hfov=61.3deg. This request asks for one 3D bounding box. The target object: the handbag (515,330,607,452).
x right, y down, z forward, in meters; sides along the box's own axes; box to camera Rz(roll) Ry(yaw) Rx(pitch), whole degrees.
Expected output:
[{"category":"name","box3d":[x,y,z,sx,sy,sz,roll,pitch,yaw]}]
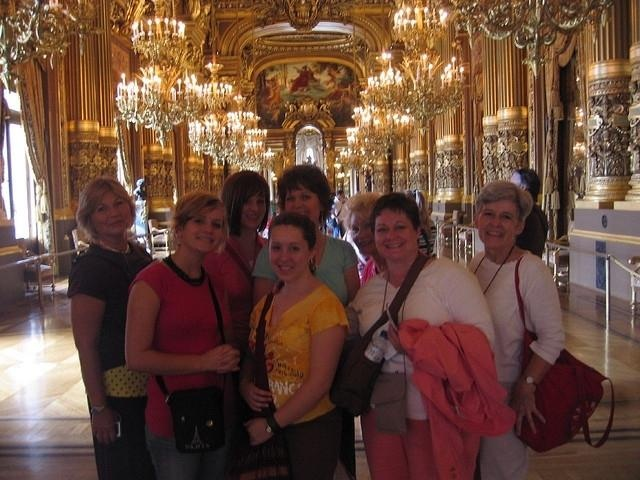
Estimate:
[{"category":"handbag","box3d":[1.505,1.003,3.410,0.522,0.559,0.234,-3,7,1]}]

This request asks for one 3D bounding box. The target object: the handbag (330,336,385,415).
[{"category":"handbag","box3d":[0.210,0.833,3.218,0.249,0.511,0.171,11,-20,13]}]

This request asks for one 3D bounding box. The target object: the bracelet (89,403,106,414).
[{"category":"bracelet","box3d":[-1.409,1.067,3.415,0.062,0.075,0.058,-2,-3,-4]}]

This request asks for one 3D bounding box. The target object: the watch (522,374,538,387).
[{"category":"watch","box3d":[1.315,0.874,3.348,0.077,0.057,0.032,-1,8,14]}]

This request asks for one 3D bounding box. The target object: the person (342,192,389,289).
[{"category":"person","box3d":[0.454,-0.011,4.699,0.438,0.872,0.376,-5,14,26]}]

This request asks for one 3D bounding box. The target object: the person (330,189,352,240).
[{"category":"person","box3d":[0.300,-0.323,7.890,0.217,0.879,0.229,5,34,0]}]

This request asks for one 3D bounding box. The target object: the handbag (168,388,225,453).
[{"category":"handbag","box3d":[-0.693,1.008,3.046,0.271,0.369,0.136,-5,-6,-6]}]

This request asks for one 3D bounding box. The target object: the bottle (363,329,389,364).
[{"category":"bottle","box3d":[0.338,0.623,3.189,0.145,0.206,0.066,-2,7,2]}]
